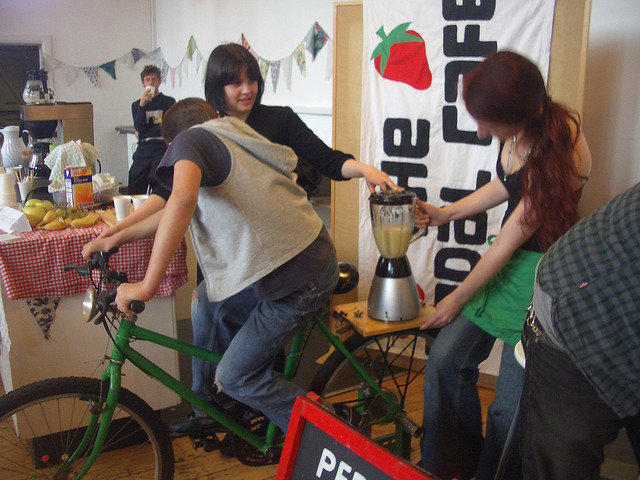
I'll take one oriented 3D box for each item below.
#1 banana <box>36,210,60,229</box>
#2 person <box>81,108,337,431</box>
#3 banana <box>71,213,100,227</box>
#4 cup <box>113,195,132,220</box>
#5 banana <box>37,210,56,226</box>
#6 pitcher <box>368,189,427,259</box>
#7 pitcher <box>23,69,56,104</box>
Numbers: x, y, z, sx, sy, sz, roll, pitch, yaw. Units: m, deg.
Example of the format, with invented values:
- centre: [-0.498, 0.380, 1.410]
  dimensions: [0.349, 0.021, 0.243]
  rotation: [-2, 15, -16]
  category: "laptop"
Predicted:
- centre: [-1.267, -0.085, 2.405]
  dimensions: [0.061, 0.037, 0.119]
  rotation: [23, 30, 5]
  category: "banana"
- centre: [-0.401, 0.145, 2.012]
  dimensions: [0.993, 1.372, 0.712]
  rotation: [3, 2, 11]
  category: "person"
- centre: [-1.121, -0.106, 2.494]
  dimensions: [0.037, 0.058, 0.149]
  rotation: [-3, 16, 37]
  category: "banana"
- centre: [-0.996, -0.166, 2.611]
  dimensions: [0.091, 0.113, 0.096]
  rotation: [2, 11, 0]
  category: "cup"
- centre: [-1.278, -0.105, 2.422]
  dimensions: [0.104, 0.037, 0.030]
  rotation: [-43, 1, -37]
  category: "banana"
- centre: [0.310, -0.066, 2.216]
  dimensions: [0.199, 0.308, 0.203]
  rotation: [1, 9, 6]
  category: "pitcher"
- centre: [-2.129, -1.168, 3.899]
  dimensions: [0.208, 0.243, 0.143]
  rotation: [3, 20, -30]
  category: "pitcher"
